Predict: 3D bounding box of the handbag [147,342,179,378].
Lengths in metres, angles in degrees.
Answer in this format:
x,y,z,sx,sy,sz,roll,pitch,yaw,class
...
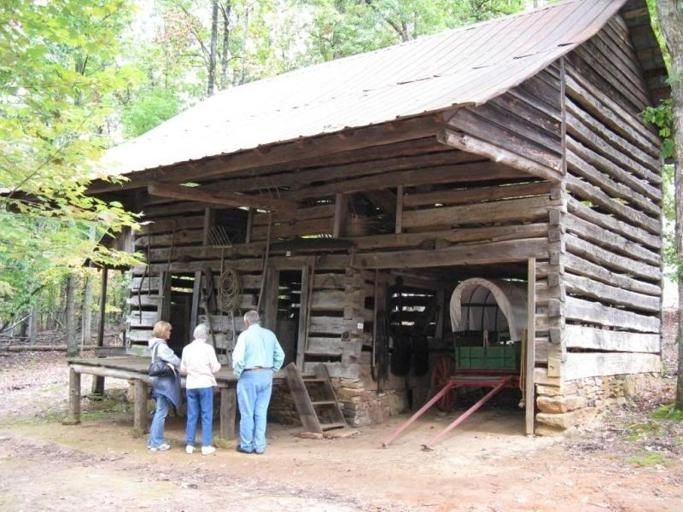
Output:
x,y,z,sx,sy,sz,roll,pitch,yaw,class
-2.681,1.590,8.164,0.422,0.497,0.252,5,-9,-18,handbag

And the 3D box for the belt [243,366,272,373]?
x,y,z,sx,sy,sz,roll,pitch,yaw,class
-1.249,1.688,8.068,0.417,0.082,0.097,7,-10,-35,belt

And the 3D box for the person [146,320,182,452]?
x,y,z,sx,sy,sz,roll,pitch,yaw,class
-2.717,1.932,8.319,0.675,1.645,0.873,-1,-2,26,person
